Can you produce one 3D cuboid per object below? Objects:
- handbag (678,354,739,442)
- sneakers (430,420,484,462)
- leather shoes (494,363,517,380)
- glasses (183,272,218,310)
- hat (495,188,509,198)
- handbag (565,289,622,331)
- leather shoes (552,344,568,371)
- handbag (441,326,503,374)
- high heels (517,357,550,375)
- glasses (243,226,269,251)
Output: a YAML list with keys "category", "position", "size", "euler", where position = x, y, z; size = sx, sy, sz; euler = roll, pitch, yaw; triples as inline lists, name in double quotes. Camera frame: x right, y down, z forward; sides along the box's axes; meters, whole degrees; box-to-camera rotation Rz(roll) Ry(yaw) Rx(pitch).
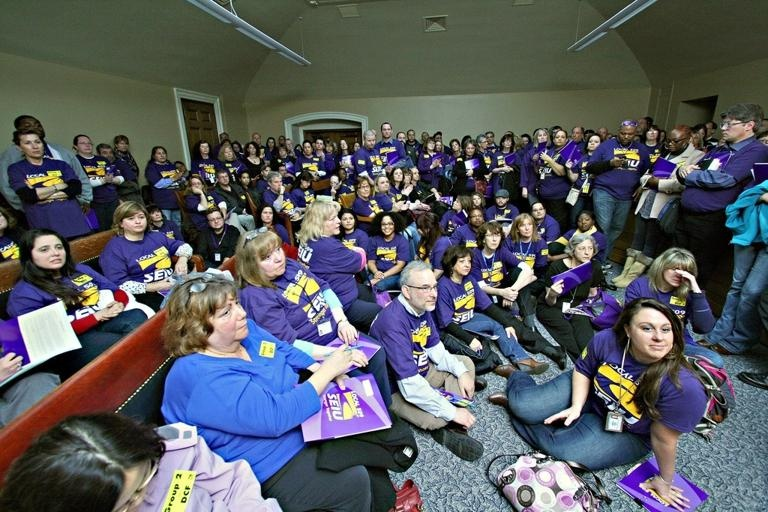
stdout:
- category: "handbag"
  position: [2.560, 1.156, 4.125]
  size: [0.392, 0.531, 0.522]
  euler: [-32, 3, 25]
- category: "sneakers"
  position: [0.642, 1.579, 4.359]
  size: [0.488, 0.189, 0.216]
  euler: [27, 2, 23]
- category: "leather shoes"
  position: [1.194, 1.134, 4.862]
  size: [0.188, 0.084, 0.107]
  euler: [8, 38, 12]
- category: "glasses"
  position: [-1.342, 0.258, 3.651]
  size: [0.163, 0.067, 0.219]
  euler: [4, 53, 15]
- category: "hat"
  position: [1.673, -0.886, 6.938]
  size: [0.129, 0.090, 0.184]
  euler: [8, -10, 29]
- category: "handbag"
  position: [2.232, 0.570, 5.184]
  size: [0.440, 0.265, 0.564]
  euler: [-8, 6, 4]
- category: "leather shoes"
  position: [1.800, 1.046, 5.071]
  size: [0.127, 0.095, 0.223]
  euler: [-37, 29, 15]
- category: "handbag"
  position: [0.885, 0.963, 5.024]
  size: [0.506, 0.189, 0.403]
  euler: [29, 13, 18]
- category: "high heels"
  position: [1.475, 1.092, 4.903]
  size: [0.285, 0.128, 0.220]
  euler: [-4, 38, 0]
- category: "glasses"
  position: [-1.137, -0.178, 4.363]
  size: [0.191, 0.057, 0.193]
  euler: [-42, -11, 28]
